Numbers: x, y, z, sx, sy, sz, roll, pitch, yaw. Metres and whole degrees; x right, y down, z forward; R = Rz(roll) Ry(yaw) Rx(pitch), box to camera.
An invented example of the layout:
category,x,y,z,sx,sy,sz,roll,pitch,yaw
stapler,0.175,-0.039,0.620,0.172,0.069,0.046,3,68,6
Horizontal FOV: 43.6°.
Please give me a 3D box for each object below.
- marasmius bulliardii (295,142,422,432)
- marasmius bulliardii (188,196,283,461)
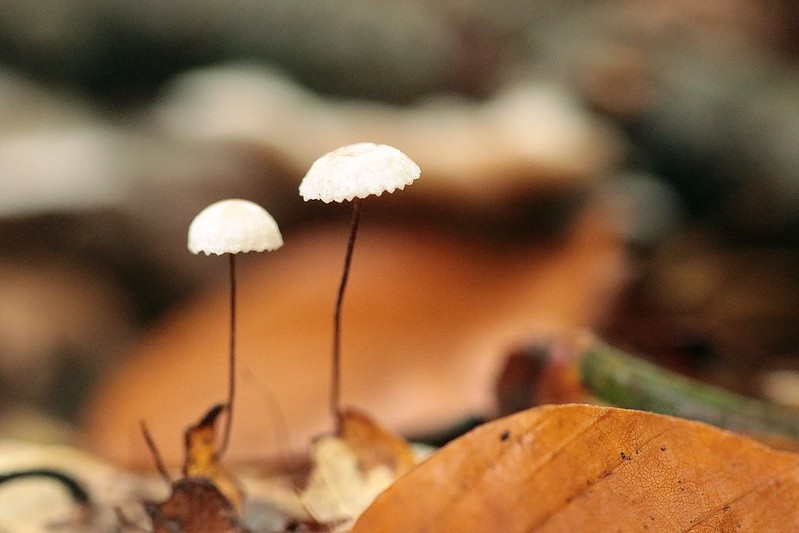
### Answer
category,x,y,z,sx,sy,sz,roll,pitch,yaw
marasmius bulliardii,-0.115,0.060,2.829,0.251,0.307,0.863,2,96,6
marasmius bulliardii,-0.492,0.240,3.011,0.304,0.336,0.888,-3,96,-21
